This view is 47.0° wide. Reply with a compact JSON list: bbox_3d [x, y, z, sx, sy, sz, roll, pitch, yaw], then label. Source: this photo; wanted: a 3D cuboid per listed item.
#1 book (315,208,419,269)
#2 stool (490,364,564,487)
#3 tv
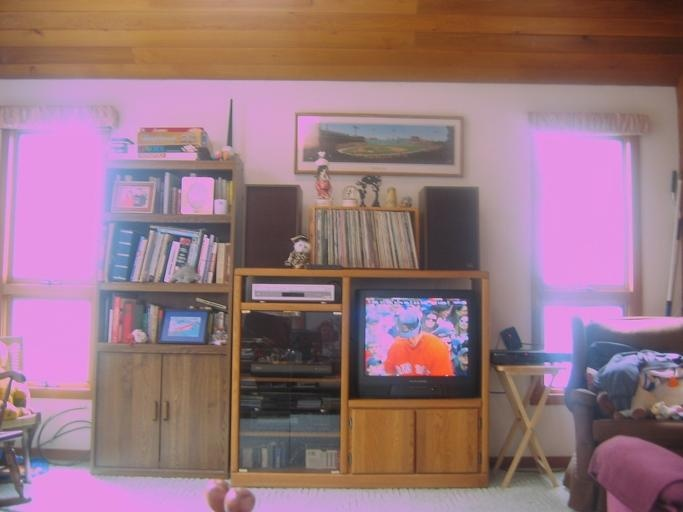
[{"bbox_3d":[0.155,-0.071,6.084,0.842,0.443,0.205,1,-7,-2],"label":"book"},{"bbox_3d":[1.382,1.235,5.890,0.488,0.894,0.531,-1,-3,11],"label":"stool"},{"bbox_3d":[0.521,0.657,5.696,0.780,0.654,0.247,0,-5,0],"label":"tv"}]
